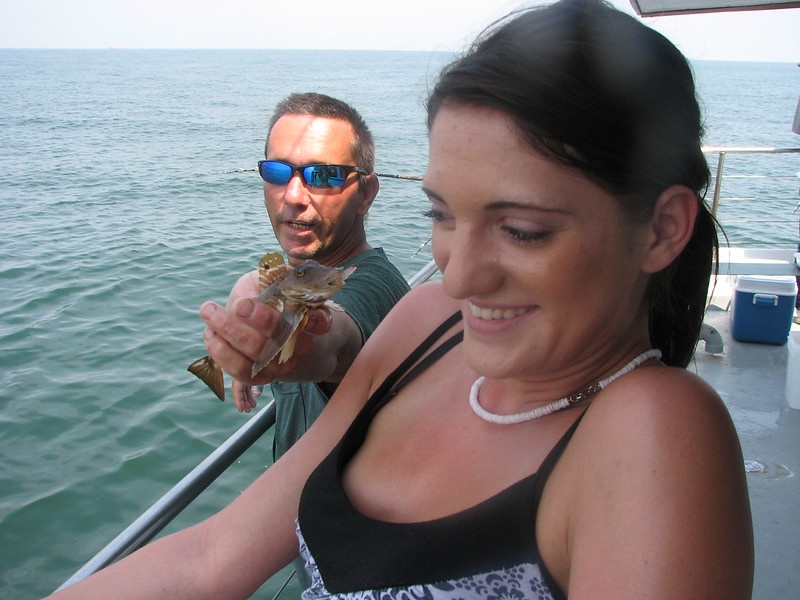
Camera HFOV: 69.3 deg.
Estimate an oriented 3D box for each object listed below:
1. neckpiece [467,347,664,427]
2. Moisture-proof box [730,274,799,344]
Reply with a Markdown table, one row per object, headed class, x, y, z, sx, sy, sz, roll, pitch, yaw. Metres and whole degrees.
| class | x | y | z | sx | sy | sz | roll | pitch | yaw |
| --- | --- | --- | --- | --- | --- | --- | --- | --- | --- |
| neckpiece | 0.705 | 0.273 | 1.978 | 0.371 | 0.469 | 0.024 | -9 | 65 | -50 |
| Moisture-proof box | 3.575 | 0.074 | 5.905 | 0.575 | 0.545 | 0.863 | 5 | 15 | 25 |
